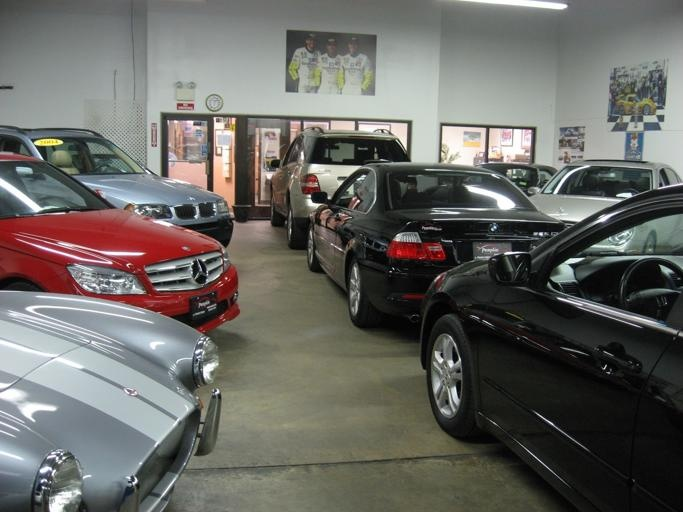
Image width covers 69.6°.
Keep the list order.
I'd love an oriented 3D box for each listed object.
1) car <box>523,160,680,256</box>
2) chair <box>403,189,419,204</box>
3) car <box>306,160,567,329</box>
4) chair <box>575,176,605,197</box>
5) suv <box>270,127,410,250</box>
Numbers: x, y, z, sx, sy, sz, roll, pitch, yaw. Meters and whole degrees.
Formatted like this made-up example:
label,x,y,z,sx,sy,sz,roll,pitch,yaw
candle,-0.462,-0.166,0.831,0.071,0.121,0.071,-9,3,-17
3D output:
label,x,y,z,sx,sy,sz,roll,pitch,yaw
car,4.535,-0.813,8.534,1.899,1.325,4.438,3,6,35
chair,0.719,-0.619,5.111,0.177,0.148,0.153,2,23,1
car,0.603,-0.323,5.572,1.496,0.877,2.863,-1,12,-11
chair,4.397,-1.218,8.674,0.336,0.226,0.534,7,21,24
suv,-0.368,-1.685,10.424,1.882,1.478,3.806,0,11,-6
